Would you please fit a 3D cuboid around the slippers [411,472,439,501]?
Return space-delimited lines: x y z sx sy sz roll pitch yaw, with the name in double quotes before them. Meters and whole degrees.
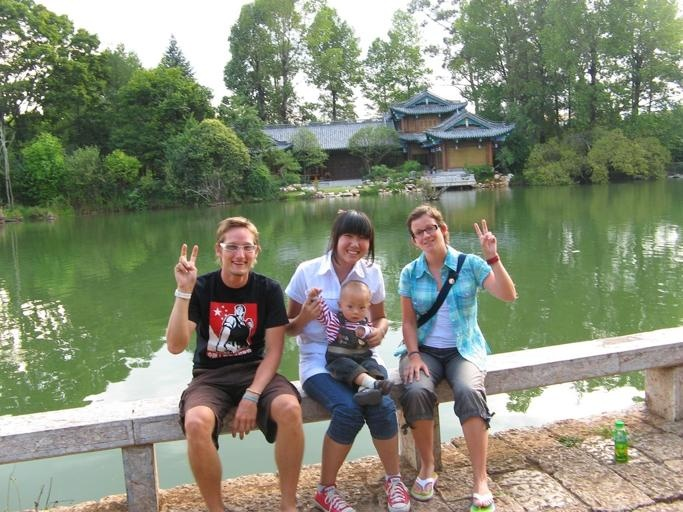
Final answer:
"slippers" 0.457 1.276 3.278 0.124 0.089 0.323 -1 -4 12

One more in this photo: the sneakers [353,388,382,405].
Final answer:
"sneakers" 0.139 0.749 3.156 0.137 0.076 0.095 -3 9 7

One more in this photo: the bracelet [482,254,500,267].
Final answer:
"bracelet" 0.894 0.029 3.553 0.072 0.058 0.135 -3 5 15

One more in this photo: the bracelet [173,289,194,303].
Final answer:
"bracelet" -0.853 0.222 3.238 0.061 0.035 0.070 17 1 34

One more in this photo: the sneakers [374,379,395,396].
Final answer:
"sneakers" 0.226 0.698 3.174 0.051 0.062 0.138 -14 -24 -21
